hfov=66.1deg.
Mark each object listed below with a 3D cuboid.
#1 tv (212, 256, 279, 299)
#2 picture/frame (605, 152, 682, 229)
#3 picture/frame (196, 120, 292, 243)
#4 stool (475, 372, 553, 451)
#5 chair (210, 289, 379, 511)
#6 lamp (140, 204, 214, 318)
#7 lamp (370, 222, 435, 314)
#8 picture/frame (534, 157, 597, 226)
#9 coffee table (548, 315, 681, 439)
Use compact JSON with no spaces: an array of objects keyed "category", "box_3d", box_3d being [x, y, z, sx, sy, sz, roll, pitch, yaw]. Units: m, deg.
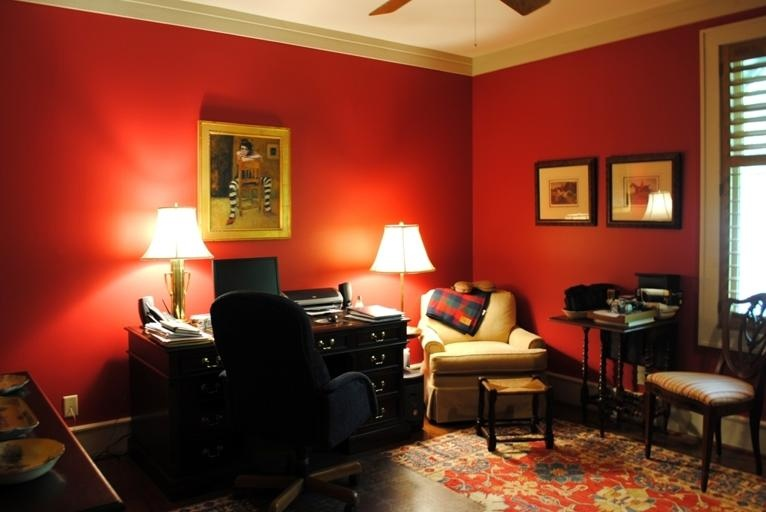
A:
[{"category":"tv","box_3d":[-1.067,0.173,4.529,0.348,0.240,0.036,1,-11,-29]},{"category":"picture/frame","box_3d":[2.248,-0.570,5.027,0.073,0.626,0.680,0,2,-44]},{"category":"picture/frame","box_3d":[-1.199,-0.634,4.922,1.066,1.260,0.087,-2,2,-35]},{"category":"stool","box_3d":[1.071,1.220,4.852,0.573,0.545,0.558,1,-3,-21]},{"category":"chair","box_3d":[-0.573,0.941,3.945,1.038,1.537,0.641,-1,14,1]},{"category":"lamp","box_3d":[-1.589,0.051,4.543,0.500,0.859,0.430,-8,16,-27]},{"category":"lamp","box_3d":[0.181,0.234,5.484,0.610,1.030,0.620,-1,4,-3]},{"category":"picture/frame","box_3d":[1.725,-0.613,5.501,0.648,0.682,0.075,4,6,42]},{"category":"coffee table","box_3d":[1.974,0.929,5.061,0.990,0.938,1.010,17,1,33]}]
